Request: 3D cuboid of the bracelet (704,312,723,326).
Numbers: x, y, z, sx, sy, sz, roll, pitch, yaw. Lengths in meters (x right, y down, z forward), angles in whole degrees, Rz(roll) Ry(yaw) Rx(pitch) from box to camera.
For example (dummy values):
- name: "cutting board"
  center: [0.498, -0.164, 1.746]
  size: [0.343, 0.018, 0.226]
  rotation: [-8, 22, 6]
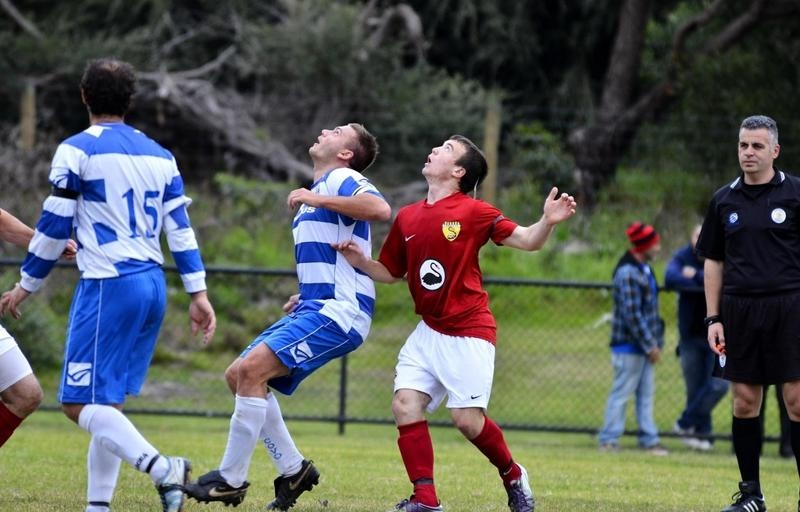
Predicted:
- name: "bracelet"
  center: [3.188, 0.691, 12.046]
  size: [0.146, 0.102, 0.135]
  rotation: [-7, -13, -35]

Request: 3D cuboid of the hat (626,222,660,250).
- name: "hat"
  center: [2.642, -0.202, 12.766]
  size: [0.324, 0.289, 0.258]
  rotation: [-15, 18, -2]

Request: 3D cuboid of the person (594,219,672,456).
- name: "person"
  center: [2.393, 1.022, 12.150]
  size: [0.655, 2.293, 0.756]
  rotation: [2, 0, -2]
